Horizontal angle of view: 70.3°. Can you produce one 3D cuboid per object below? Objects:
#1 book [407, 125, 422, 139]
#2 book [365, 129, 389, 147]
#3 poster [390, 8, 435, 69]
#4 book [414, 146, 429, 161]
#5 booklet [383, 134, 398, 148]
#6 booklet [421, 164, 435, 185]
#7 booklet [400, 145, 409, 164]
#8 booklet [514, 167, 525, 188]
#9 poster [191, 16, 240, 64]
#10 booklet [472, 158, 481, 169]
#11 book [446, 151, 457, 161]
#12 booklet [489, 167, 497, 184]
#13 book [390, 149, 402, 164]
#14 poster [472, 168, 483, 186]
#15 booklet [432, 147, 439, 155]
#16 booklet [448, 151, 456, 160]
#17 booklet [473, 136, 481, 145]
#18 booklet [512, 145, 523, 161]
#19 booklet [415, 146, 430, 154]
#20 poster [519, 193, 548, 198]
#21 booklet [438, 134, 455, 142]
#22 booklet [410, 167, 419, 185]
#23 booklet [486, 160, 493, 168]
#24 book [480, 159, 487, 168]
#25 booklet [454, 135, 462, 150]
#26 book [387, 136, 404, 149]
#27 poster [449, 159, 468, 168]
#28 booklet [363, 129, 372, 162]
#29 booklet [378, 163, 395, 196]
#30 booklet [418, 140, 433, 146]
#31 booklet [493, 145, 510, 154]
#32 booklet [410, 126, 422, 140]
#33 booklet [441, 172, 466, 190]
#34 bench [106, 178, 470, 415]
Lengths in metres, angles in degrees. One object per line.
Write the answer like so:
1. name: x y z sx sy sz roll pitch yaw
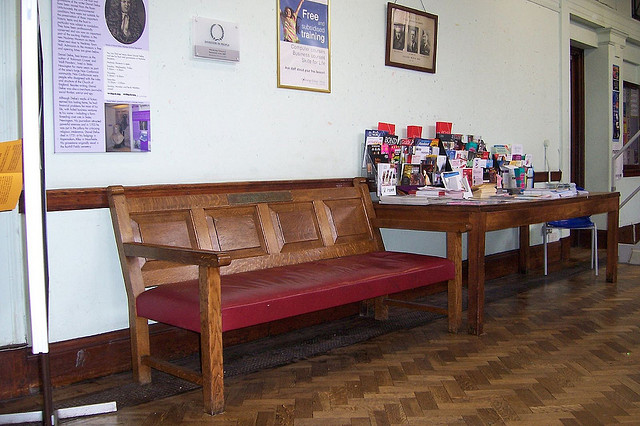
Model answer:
1. book: 0.921 -0.793 4.495 0.176 0.143 0.059 -6 12 -37
2. book: 0.512 -0.670 4.139 0.171 0.115 0.022 -9 12 -21
3. poster: 0.899 -1.746 4.551 0.746 0.579 0.026 -2 10 -41
4. book: 0.971 -0.571 4.352 0.191 0.125 0.040 -7 11 -42
5. booklet: 0.649 -0.665 4.211 0.187 0.114 0.047 -7 11 -42
6. booklet: 1.024 -0.366 4.355 0.109 0.177 0.194 -4 1 37
7. booklet: 0.780 -0.546 4.243 0.043 0.167 0.145 5 9 32
8. booklet: 2.272 -0.406 5.201 0.223 0.283 0.039 -5 6 -32
9. poster: -0.798 -1.282 3.378 0.424 0.296 0.072 -4 7 -38
10. booklet: 1.683 -0.529 4.884 0.117 0.103 0.028 1 6 -40
11. book: 1.350 -0.588 4.670 0.157 0.105 0.082 -5 4 -44
12. booklet: 1.898 -0.411 5.013 0.137 0.180 0.055 -3 8 -11
13. book: 0.693 -0.518 4.197 0.152 0.109 0.015 2 -8 -34
14. poster: 1.648 -0.385 4.762 0.107 0.159 0.238 2 8 18
15. booklet: 1.130 -0.609 4.473 0.086 0.078 0.008 -11 13 -40
16. booklet: 1.342 -0.590 4.664 0.092 0.075 0.012 -11 9 -38
17. booklet: 1.701 -0.780 4.916 0.116 0.072 0.027 6 -6 1
18. booklet: 2.331 -0.708 5.393 0.198 0.131 0.021 -9 8 -43
19. booklet: 0.972 -0.598 4.350 0.187 0.072 0.034 -7 11 -43
20. poster: 2.041 -0.169 4.350 0.205 0.017 0.226 5 9 36
21. booklet: 1.292 -0.766 4.661 0.210 0.070 0.030 -5 9 -30
22. booklet: 0.887 -0.346 4.255 0.136 0.163 0.041 -8 11 -44
23. booklet: 1.881 -0.540 5.027 0.032 0.082 0.123 6 10 38
24. book: 1.767 -0.535 4.939 0.097 0.081 0.013 -8 13 -44
25. booklet: 1.432 -0.731 4.737 0.034 0.129 0.147 8 1 34
26. book: 0.696 -0.644 4.221 0.185 0.104 0.072 -7 10 -41
27. poster: 1.412 -0.500 4.666 0.150 0.054 0.088 -7 11 -35
28. booklet: 0.428 -0.622 4.162 0.075 0.267 0.116 0 8 0
29. booklet: 0.611 -0.293 4.058 0.222 0.295 0.032 1 1 33
30. booklet: 1.004 -0.670 4.366 0.030 0.055 0.198 7 11 43
31. booklet: 2.149 -0.744 5.385 0.278 0.095 0.090 -7 10 -39
32. booklet: 0.943 -0.791 4.498 0.064 0.158 0.188 7 9 43
33. booklet: 1.233 -0.290 4.159 0.199 0.157 0.233 0 8 6
34. bench: -0.087 0.425 3.532 1.093 1.207 2.718 5 6 38
